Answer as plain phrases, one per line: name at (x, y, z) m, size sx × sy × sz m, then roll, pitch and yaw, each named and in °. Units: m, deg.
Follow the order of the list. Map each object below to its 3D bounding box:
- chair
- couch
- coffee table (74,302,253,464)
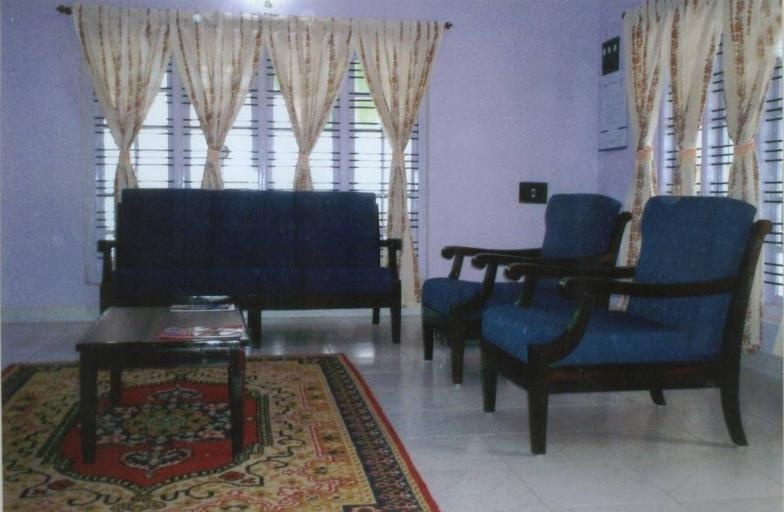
chair at (0.784, 0.242, 3.014) m, size 1.225 × 1.273 × 0.938 m, roll 1°, pitch 1°, yaw -8°
couch at (-0.850, 0.064, 4.124) m, size 1.801 × 0.943 × 0.738 m, roll -1°, pitch 11°, yaw -12°
coffee table at (-0.929, 0.478, 2.721) m, size 0.621 × 0.449 × 0.802 m, roll -1°, pitch 11°, yaw -13°
